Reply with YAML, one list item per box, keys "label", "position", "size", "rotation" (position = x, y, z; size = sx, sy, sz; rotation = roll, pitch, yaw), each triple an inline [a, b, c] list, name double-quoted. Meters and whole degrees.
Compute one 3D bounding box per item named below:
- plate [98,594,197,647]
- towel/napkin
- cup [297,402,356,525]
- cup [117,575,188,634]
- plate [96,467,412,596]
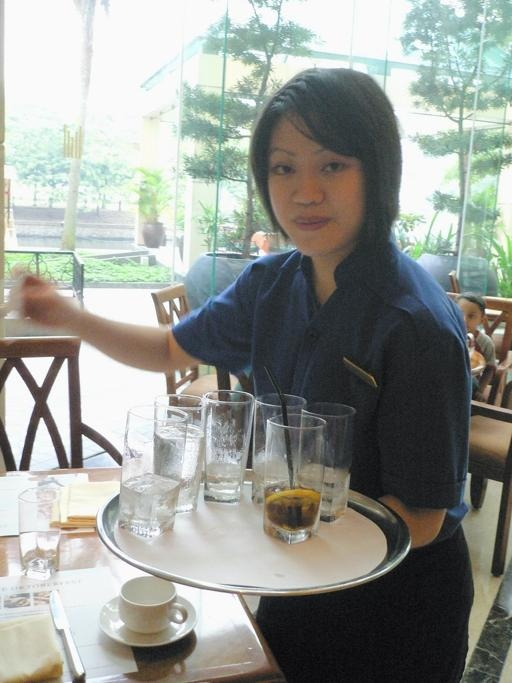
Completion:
- label: "plate"
  position: [-0.139, 0.358, 0.757]
  size: [0.124, 0.021, 0.114]
  rotation: [5, 5, -11]
- label: "towel/napkin"
  position: [-0.325, 0.295, 1.107]
  size: [0.145, 0.033, 0.137]
  rotation: [1, 15, -7]
- label: "cup"
  position: [0.087, 0.167, 0.820]
  size: [0.094, 0.147, 0.096]
  rotation: [7, -8, 1]
- label: "cup"
  position: [-0.129, 0.341, 0.749]
  size: [0.093, 0.042, 0.071]
  rotation: [7, 8, 26]
- label: "plate"
  position: [-0.006, 0.234, 0.702]
  size: [0.384, 0.045, 0.260]
  rotation: [5, 5, -5]
